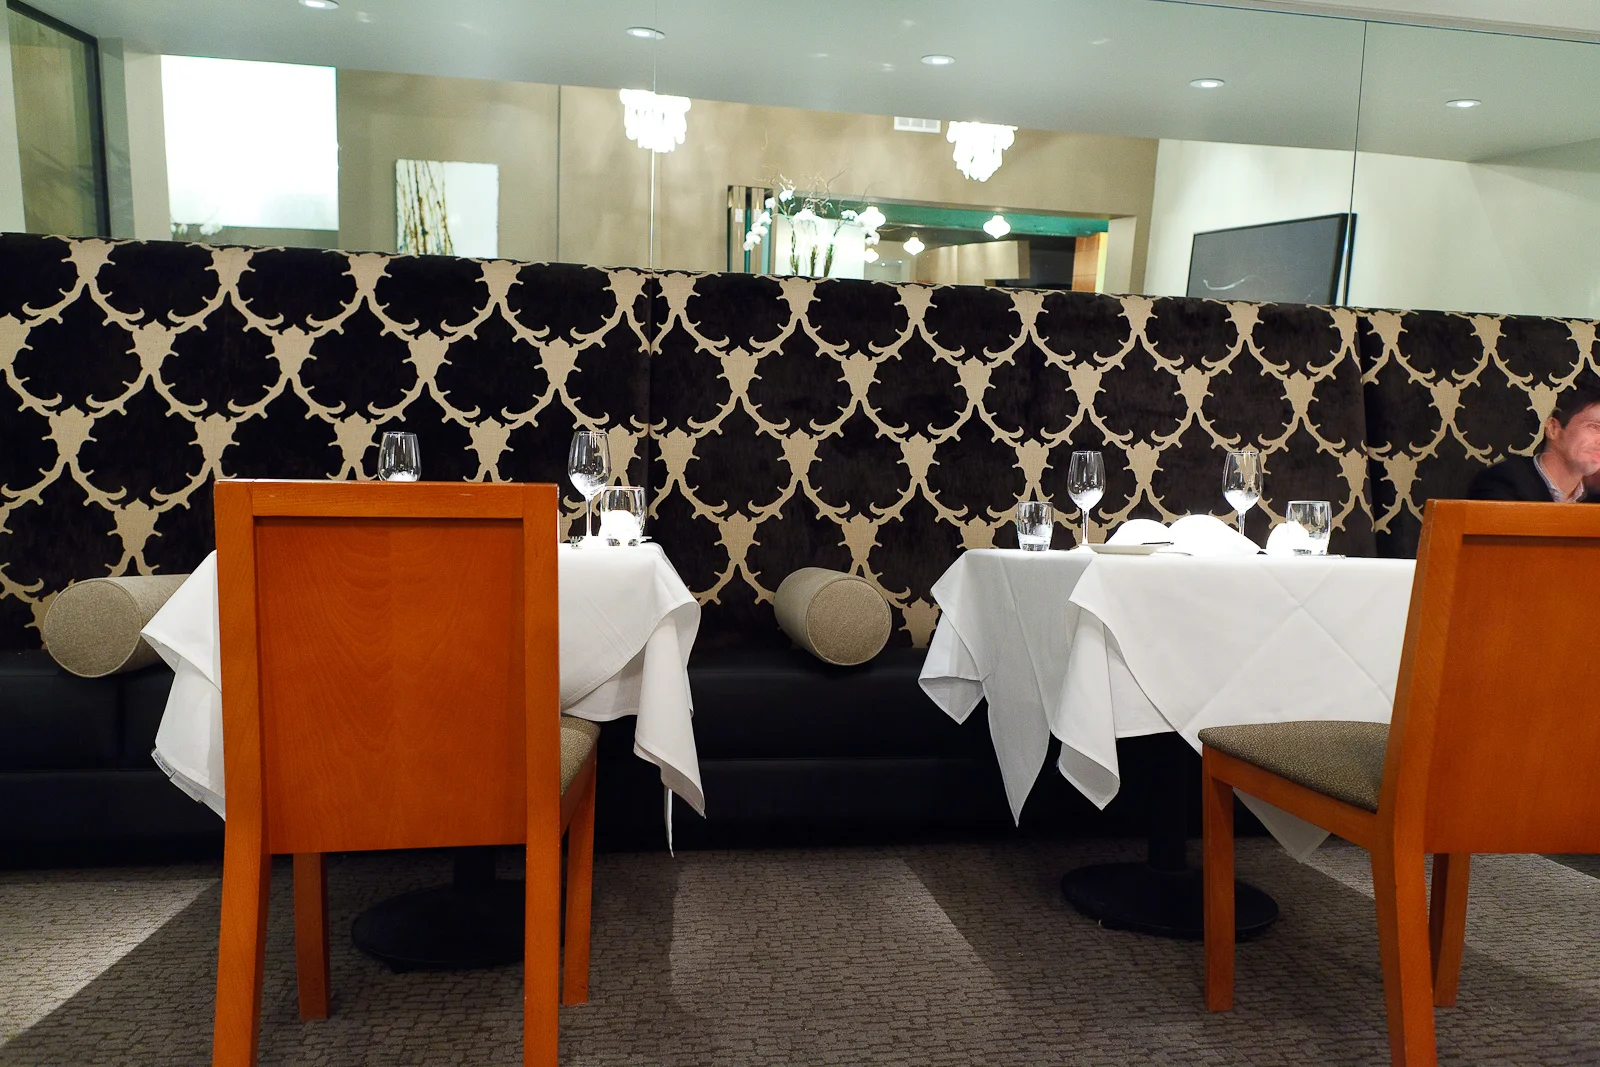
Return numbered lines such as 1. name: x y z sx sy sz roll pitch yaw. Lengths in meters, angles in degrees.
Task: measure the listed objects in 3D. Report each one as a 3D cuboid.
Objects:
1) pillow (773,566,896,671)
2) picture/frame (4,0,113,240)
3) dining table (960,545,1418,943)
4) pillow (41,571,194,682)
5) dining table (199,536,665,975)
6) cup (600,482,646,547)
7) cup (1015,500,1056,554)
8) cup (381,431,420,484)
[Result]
1. pillow: 0.066 0.237 3.530 0.236 0.257 0.453 -6 15 -29
2. picture/frame: -3.445 -1.910 5.370 0.373 0.990 0.086 0 13 -4
3. dining table: 0.911 0.417 2.992 0.797 0.531 0.871 0 10 -5
4. pillow: -1.770 0.253 2.996 0.169 0.194 0.404 16 -3 -4
5. dining table: -0.812 0.480 2.527 0.793 0.912 0.906 3 11 2
6. cup: -0.469 -0.040 3.089 0.133 0.167 0.142 0 3 0
7. cup: 0.659 -0.013 3.333 0.126 0.192 0.129 -1 -7 0
8. cup: -1.067 -0.198 3.143 0.108 0.159 0.152 1 -2 -29
